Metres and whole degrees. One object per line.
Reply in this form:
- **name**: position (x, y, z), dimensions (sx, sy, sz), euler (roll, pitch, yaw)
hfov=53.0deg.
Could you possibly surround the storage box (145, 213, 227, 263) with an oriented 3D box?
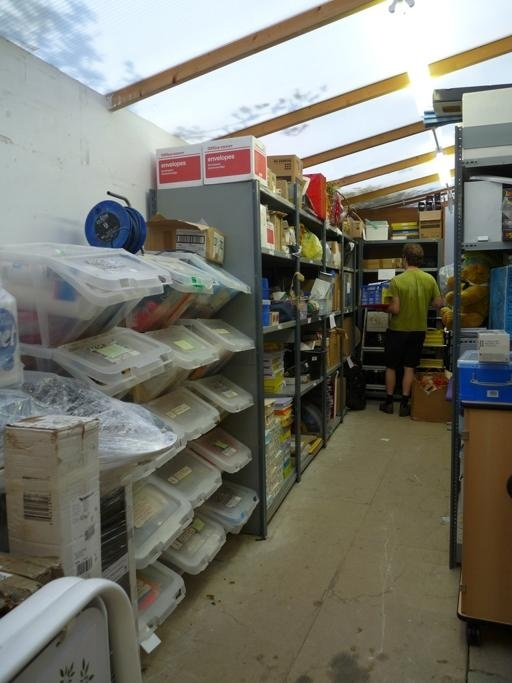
- **storage box**: position (-0.323, -0.469, 2.341), dimensions (0.269, 0.165, 0.263), euler (9, 12, 21)

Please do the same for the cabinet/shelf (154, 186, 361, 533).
- **cabinet/shelf**: position (0.022, 0.107, 2.716), dimensions (0.383, 1.355, 2.210), euler (3, 7, 18)
